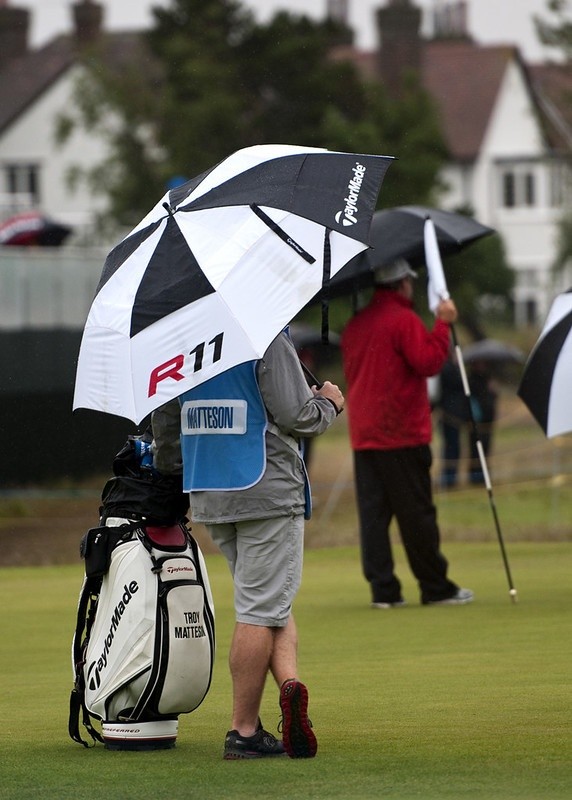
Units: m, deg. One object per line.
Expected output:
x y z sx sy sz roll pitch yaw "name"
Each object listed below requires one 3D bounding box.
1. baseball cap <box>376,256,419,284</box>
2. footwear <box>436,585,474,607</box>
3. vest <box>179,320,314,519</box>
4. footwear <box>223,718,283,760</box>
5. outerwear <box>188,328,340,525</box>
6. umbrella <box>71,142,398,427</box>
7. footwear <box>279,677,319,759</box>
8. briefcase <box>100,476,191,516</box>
0.454 -0.524 6.654 0.138 0.079 0.100 -25 11 -20 "baseball cap"
0.675 0.798 6.470 0.137 0.054 0.059 -4 -1 7 "footwear"
-0.141 0.031 4.278 0.362 0.466 0.293 -4 8 6 "vest"
-0.085 0.887 4.133 0.167 0.080 0.064 -1 2 -29 "footwear"
-0.088 0.069 4.304 0.417 0.538 0.364 -1 -5 37 "outerwear"
-0.146 -0.315 4.126 0.857 0.536 0.508 -3 1 4 "umbrella"
0.027 0.804 4.034 0.083 0.203 0.093 -10 10 2 "footwear"
-0.393 0.254 4.372 0.170 0.093 0.129 1 -2 26 "briefcase"
